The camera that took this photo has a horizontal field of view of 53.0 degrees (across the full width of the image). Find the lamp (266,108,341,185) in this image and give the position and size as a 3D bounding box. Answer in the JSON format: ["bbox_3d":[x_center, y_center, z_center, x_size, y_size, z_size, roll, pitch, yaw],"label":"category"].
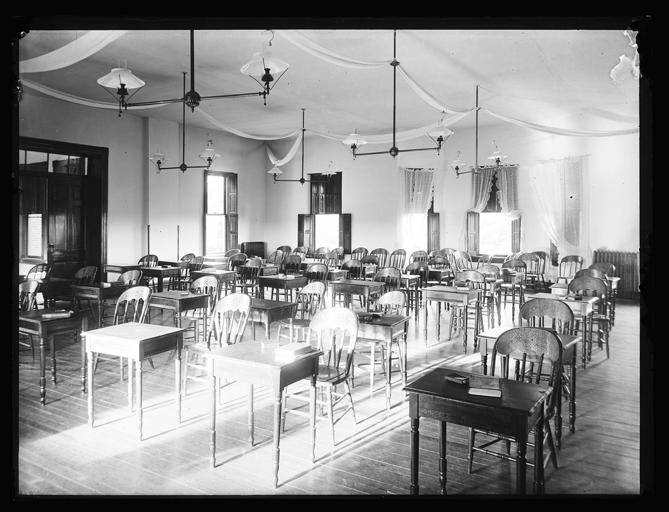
[{"bbox_3d":[-0.647,-2.556,15.606,1.525,1.712,0.366,0,4,-5],"label":"lamp"}]

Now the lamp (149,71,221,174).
[{"bbox_3d":[-2.912,-2.545,12.805,1.569,2.155,0.583,0,0,-9],"label":"lamp"}]

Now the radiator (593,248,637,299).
[{"bbox_3d":[4.771,0.279,11.364,0.852,0.927,0.156,5,9,38],"label":"radiator"}]

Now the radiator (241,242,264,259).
[{"bbox_3d":[-2.049,-0.163,16.916,0.661,0.604,0.371,1,-5,-41],"label":"radiator"}]

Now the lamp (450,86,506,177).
[{"bbox_3d":[2.890,-2.479,13.300,1.226,2.032,0.359,-3,-4,25],"label":"lamp"}]
